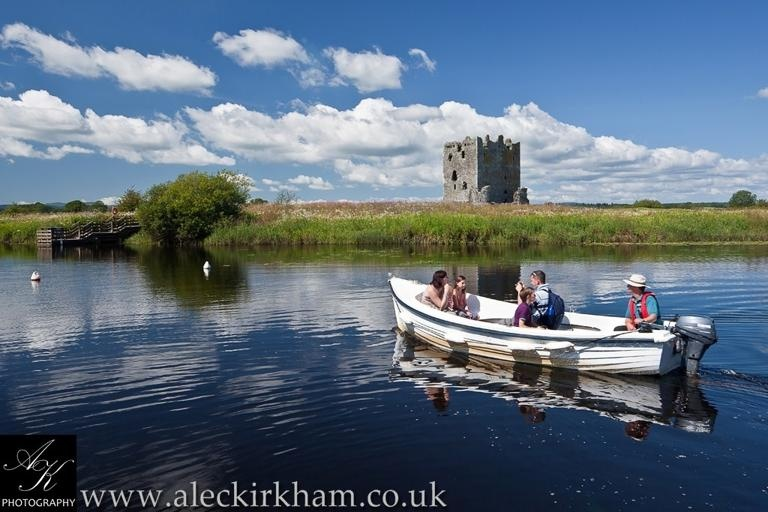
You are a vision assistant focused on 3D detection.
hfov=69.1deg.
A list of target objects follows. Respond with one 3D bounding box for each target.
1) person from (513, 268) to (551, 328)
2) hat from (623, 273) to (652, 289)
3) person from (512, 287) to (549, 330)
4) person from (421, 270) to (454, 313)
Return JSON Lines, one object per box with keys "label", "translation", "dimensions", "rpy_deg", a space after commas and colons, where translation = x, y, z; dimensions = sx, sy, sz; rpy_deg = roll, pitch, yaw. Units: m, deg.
{"label": "person", "translation": [3.272, 1.238, 12.245], "dimensions": [0.629, 1.938, 0.627], "rpy_deg": [2, 26, 18]}
{"label": "hat", "translation": [6.943, 0.695, 15.242], "dimensions": [0.580, 0.252, 0.656], "rpy_deg": [4, 4, 13]}
{"label": "person", "translation": [3.167, 1.110, 11.985], "dimensions": [0.655, 0.835, 0.676], "rpy_deg": [8, 15, 21]}
{"label": "person", "translation": [1.313, 0.988, 13.647], "dimensions": [0.766, 1.311, 0.668], "rpy_deg": [13, 28, 29]}
